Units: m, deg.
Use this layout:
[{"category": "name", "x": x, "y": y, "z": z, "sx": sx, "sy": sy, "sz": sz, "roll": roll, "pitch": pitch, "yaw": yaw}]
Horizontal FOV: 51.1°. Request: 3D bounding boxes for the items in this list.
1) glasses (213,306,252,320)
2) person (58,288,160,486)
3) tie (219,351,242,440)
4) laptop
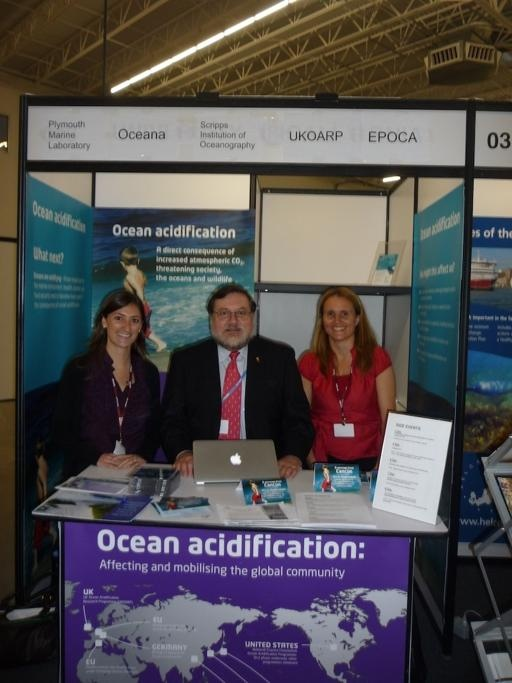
[{"category": "glasses", "x": -0.107, "y": -0.126, "z": 2.447, "sx": 0.164, "sy": 0.053, "sz": 0.046, "roll": -2, "pitch": 9, "yaw": -6}, {"category": "person", "x": -0.682, "y": 0.193, "z": 2.453, "sx": 0.462, "sy": 0.836, "sz": 0.228, "roll": -3, "pitch": 9, "yaw": -14}, {"category": "tie", "x": -0.118, "y": 0.242, "z": 2.469, "sx": 0.100, "sy": 0.377, "sz": 0.166, "roll": -1, "pitch": 8, "yaw": 1}, {"category": "laptop", "x": -0.075, "y": 0.418, "z": 1.871, "sx": 0.232, "sy": 0.164, "sz": 0.058, "roll": -1, "pitch": -20, "yaw": -7}]
